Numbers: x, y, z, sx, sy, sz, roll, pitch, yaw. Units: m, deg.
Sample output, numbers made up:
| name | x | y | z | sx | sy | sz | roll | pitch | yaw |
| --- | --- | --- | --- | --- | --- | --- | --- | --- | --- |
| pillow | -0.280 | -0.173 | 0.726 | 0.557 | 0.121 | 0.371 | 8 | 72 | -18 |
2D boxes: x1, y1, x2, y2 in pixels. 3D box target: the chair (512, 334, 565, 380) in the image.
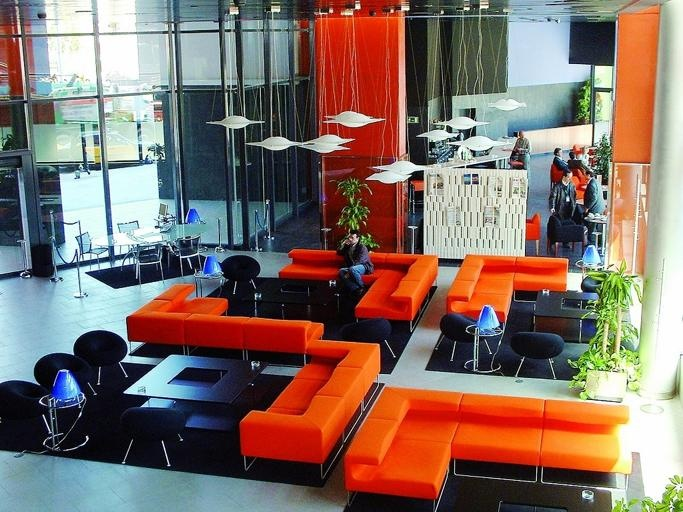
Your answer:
| name | x | y | z | sx | sy | sz | roll | pitch | yaw |
| --- | --- | --- | --- | --- | --- | --- | --- | --- | --- |
| chair | 3.066 | 1.477 | 8.984 | 0.744 | 0.699 | 0.675 | 1 | 11 | 14 |

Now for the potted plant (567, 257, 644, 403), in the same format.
| name | x | y | z | sx | sy | sz | roll | pitch | yaw |
| --- | --- | --- | --- | --- | --- | --- | --- | --- | --- |
| potted plant | 4.088 | 0.953 | 8.673 | 0.920 | 2.022 | 1.958 | 4 | 12 | 27 |

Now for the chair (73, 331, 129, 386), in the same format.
| name | x | y | z | sx | sy | sz | roll | pitch | yaw |
| --- | --- | --- | --- | --- | --- | --- | --- | --- | --- |
| chair | -3.842 | 1.487 | 9.267 | 0.955 | 0.716 | 0.901 | -6 | 22 | -32 |

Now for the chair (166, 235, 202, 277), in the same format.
| name | x | y | z | sx | sy | sz | roll | pitch | yaw |
| --- | --- | --- | --- | --- | --- | --- | --- | --- | --- |
| chair | -3.887 | 0.024 | 13.992 | 0.875 | 1.029 | 0.800 | 22 | 28 | 38 |

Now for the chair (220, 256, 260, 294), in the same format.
| name | x | y | z | sx | sy | sz | roll | pitch | yaw |
| --- | --- | --- | --- | --- | --- | --- | --- | --- | --- |
| chair | -2.312 | 0.414 | 12.772 | 1.033 | 0.782 | 0.921 | -1 | 4 | -12 |

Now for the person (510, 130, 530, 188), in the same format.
| name | x | y | z | sx | sy | sz | roll | pitch | yaw |
| --- | --- | --- | --- | --- | --- | --- | --- | --- | --- |
| person | 5.245 | -3.032 | 16.708 | 0.549 | 1.238 | 0.966 | 1 | 11 | 15 |

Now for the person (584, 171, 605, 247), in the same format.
| name | x | y | z | sx | sy | sz | roll | pitch | yaw |
| --- | --- | --- | --- | --- | --- | --- | --- | --- | --- |
| person | 6.120 | -1.144 | 13.755 | 0.495 | 1.752 | 1.366 | 3 | 12 | 24 |

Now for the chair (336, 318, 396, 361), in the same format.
| name | x | y | z | sx | sy | sz | roll | pitch | yaw |
| --- | --- | --- | --- | --- | --- | --- | --- | --- | --- |
| chair | 0.422 | 1.361 | 9.628 | 0.908 | 0.625 | 0.698 | 3 | 1 | 6 |

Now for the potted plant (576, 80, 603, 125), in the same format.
| name | x | y | z | sx | sy | sz | roll | pitch | yaw |
| --- | --- | --- | --- | --- | --- | --- | --- | --- | --- |
| potted plant | 9.562 | -6.061 | 22.098 | 0.719 | 1.699 | 1.598 | 1 | 11 | 15 |

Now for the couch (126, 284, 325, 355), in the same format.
| name | x | y | z | sx | sy | sz | roll | pitch | yaw |
| --- | --- | --- | --- | --- | --- | --- | --- | --- | --- |
| couch | -1.945 | 1.192 | 9.970 | 3.371 | 0.919 | 1.395 | 2 | 11 | 17 |

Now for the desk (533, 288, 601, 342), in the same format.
| name | x | y | z | sx | sy | sz | roll | pitch | yaw |
| --- | --- | --- | --- | --- | --- | --- | --- | --- | --- |
| desk | 4.019 | 1.078 | 10.268 | 1.083 | 0.523 | 0.953 | 3 | 19 | 15 |
